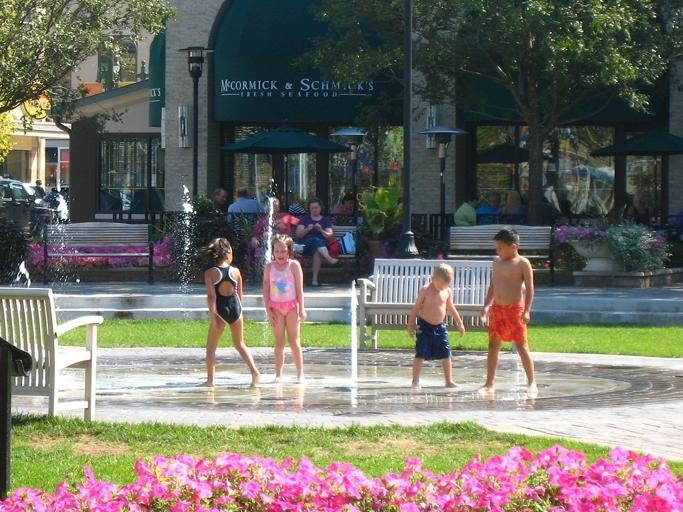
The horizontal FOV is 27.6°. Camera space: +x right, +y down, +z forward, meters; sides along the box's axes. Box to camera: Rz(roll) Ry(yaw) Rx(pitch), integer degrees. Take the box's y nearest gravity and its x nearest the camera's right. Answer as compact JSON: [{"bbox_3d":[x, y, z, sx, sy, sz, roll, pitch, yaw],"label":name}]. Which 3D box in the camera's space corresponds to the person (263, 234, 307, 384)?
[{"bbox_3d":[-0.853,0.773,20.171,0.557,2.123,0.676,-1,2,-3],"label":"person"}]

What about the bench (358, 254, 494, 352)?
[{"bbox_3d":[1.325,0.788,22.839,1.969,1.468,0.794,0,0,16],"label":"bench"}]

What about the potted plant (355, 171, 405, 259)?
[{"bbox_3d":[0.802,-0.710,29.888,0.895,1.472,0.782,-1,2,0],"label":"potted plant"}]

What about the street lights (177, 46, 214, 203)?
[{"bbox_3d":[-3.371,-2.977,31.888,0.692,3.607,0.671,1,7,-5],"label":"street lights"}]

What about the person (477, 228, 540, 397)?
[{"bbox_3d":[2.292,0.783,19.388,0.779,2.340,0.614,-1,2,10],"label":"person"}]

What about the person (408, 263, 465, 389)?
[{"bbox_3d":[1.263,1.018,19.627,0.681,1.751,0.389,-1,2,5],"label":"person"}]

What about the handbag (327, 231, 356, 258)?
[{"bbox_3d":[-0.098,-0.183,29.603,0.480,0.553,0.215,-12,6,-29],"label":"handbag"}]

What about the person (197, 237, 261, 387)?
[{"bbox_3d":[-1.644,0.812,20.083,0.751,2.123,1.171,-1,2,-4],"label":"person"}]

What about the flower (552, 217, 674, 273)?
[{"bbox_3d":[5.609,-0.146,28.917,2.112,0.993,0.978,-1,2,13],"label":"flower"}]
